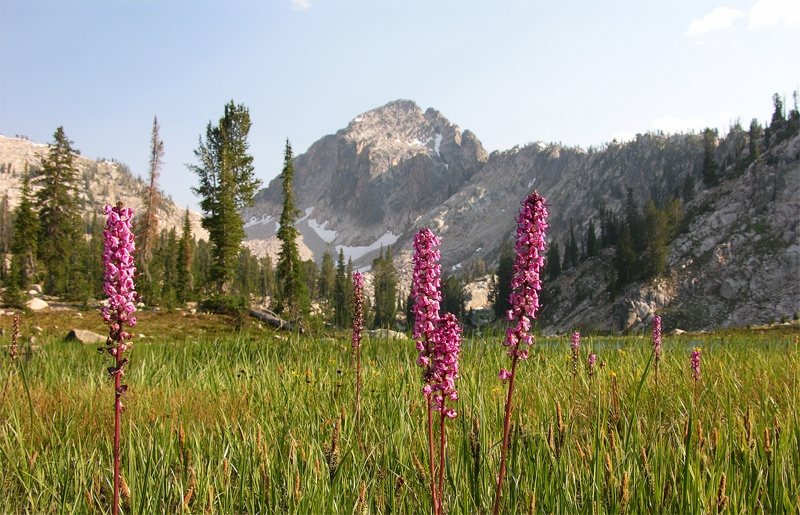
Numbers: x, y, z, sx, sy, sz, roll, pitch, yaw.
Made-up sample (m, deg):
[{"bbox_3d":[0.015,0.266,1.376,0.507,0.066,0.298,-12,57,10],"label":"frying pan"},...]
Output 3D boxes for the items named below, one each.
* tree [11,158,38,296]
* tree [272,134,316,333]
[{"bbox_3d":[-75.160,-5.103,140.508,4.069,24.284,4.742,5,-10,-30],"label":"tree"},{"bbox_3d":[-20.551,-4.261,131.756,4.088,31.977,6.843,-5,-10,31],"label":"tree"}]
